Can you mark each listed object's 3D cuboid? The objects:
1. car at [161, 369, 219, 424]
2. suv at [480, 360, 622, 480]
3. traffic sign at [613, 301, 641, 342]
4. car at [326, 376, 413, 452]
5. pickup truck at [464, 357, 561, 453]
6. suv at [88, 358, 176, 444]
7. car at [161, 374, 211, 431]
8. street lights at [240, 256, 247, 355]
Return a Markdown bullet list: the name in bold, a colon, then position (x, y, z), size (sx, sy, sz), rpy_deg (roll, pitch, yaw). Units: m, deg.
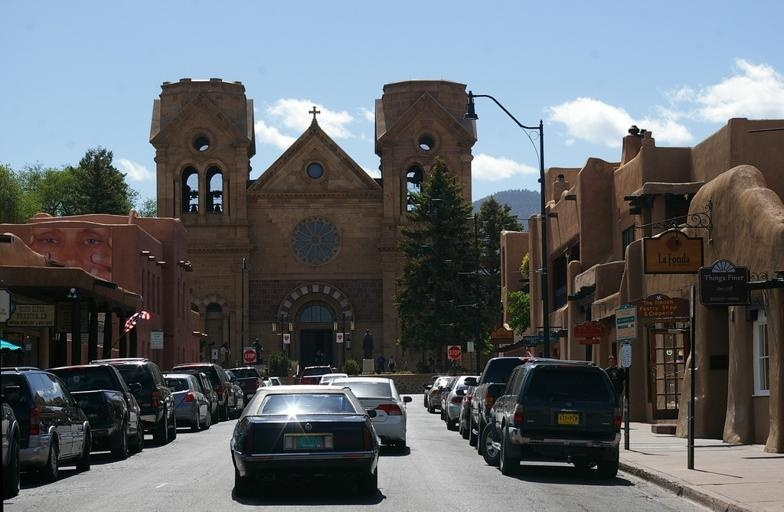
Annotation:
- **car**: position (-8.163, 5.587, 46.043), size (2.267, 2.259, 4.908), rpy_deg (-3, -4, -3)
- **suv**: position (4.348, 4.506, 33.648), size (3.288, 3.073, 6.113), rpy_deg (3, -5, -2)
- **traffic sign**: position (7.330, 2.075, 38.350), size (0.615, 1.107, 1.610), rpy_deg (-4, -10, 12)
- **car**: position (-0.761, 4.859, 38.027), size (2.974, 2.169, 6.478), rpy_deg (1, -4, 1)
- **pickup truck**: position (3.914, 4.607, 37.161), size (2.823, 3.075, 6.157), rpy_deg (0, 0, -10)
- **suv**: position (-7.795, 4.657, 39.426), size (2.133, 2.386, 5.430), rpy_deg (0, -5, -5)
- **car**: position (-8.155, 5.537, 45.929), size (2.080, 2.114, 4.845), rpy_deg (-4, -4, -3)
- **street lights**: position (-10.888, 3.469, 88.289), size (0.500, 6.909, 0.968), rpy_deg (-4, -9, 14)
